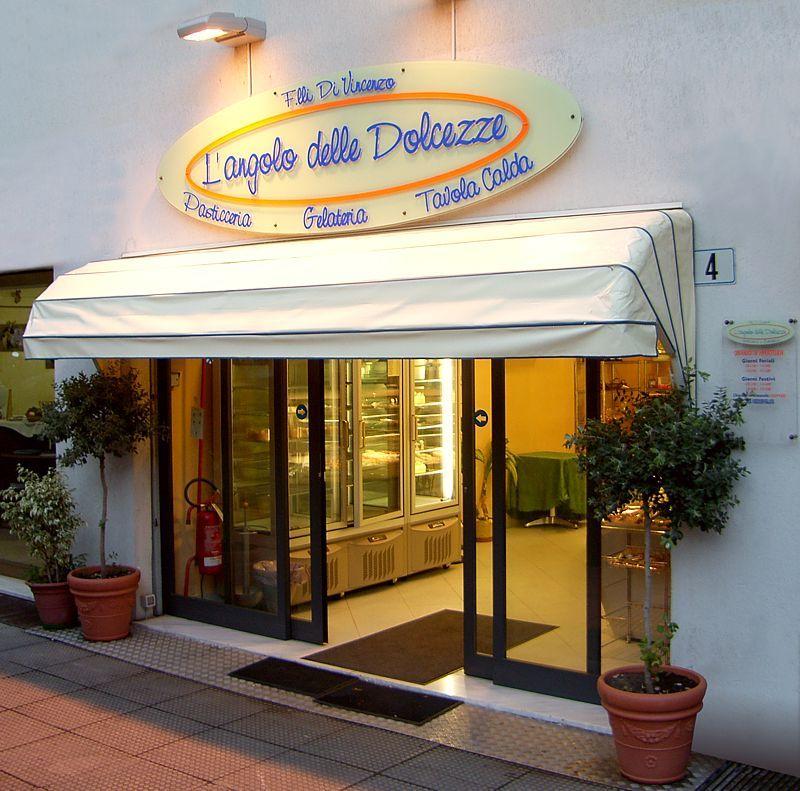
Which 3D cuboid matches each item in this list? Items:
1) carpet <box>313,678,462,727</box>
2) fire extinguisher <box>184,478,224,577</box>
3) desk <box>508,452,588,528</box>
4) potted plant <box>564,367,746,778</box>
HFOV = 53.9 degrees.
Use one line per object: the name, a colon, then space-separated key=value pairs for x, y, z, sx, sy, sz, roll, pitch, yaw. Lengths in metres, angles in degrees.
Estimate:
carpet: x=-0.075 y=2.019 z=5.197 sx=0.881 sy=0.030 sz=0.518 roll=-1 pitch=-1 yaw=33
fire extinguisher: x=-1.782 y=1.176 z=7.152 sx=0.440 sy=0.883 sz=0.118 roll=-2 pitch=-3 yaw=38
desk: x=0.959 y=0.585 z=5.211 sx=0.362 sy=0.465 sz=0.447 roll=2 pitch=4 yaw=45
potted plant: x=1.371 y=0.924 z=4.261 sx=0.745 sy=2.136 sz=0.827 roll=1 pitch=-3 yaw=-42
